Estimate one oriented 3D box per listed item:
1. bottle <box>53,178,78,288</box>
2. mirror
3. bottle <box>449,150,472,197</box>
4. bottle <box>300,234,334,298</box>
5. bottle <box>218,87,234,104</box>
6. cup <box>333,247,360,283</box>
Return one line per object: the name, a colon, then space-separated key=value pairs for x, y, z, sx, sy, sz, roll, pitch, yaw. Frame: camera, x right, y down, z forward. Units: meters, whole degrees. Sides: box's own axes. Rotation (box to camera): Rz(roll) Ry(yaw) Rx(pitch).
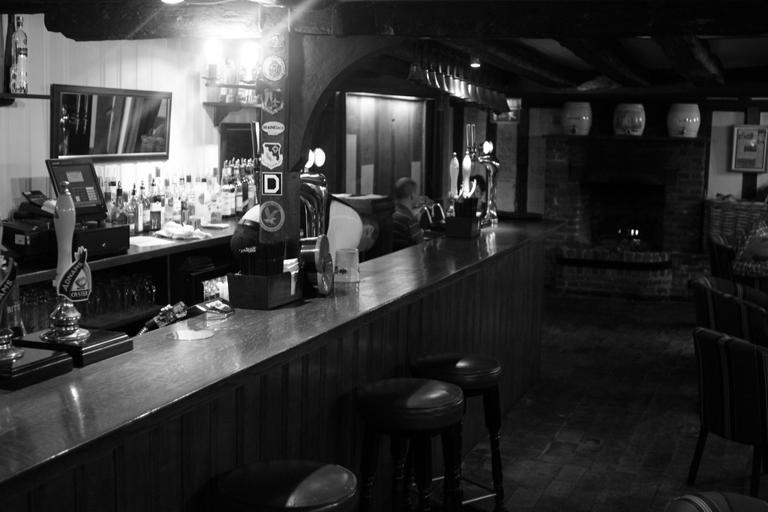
bottle: x=-1.260 y=-0.089 z=2.398 sx=0.083 sy=0.405 sz=0.304 roll=-5 pitch=12 yaw=-28
mirror: x=-2.475 y=-1.199 z=5.623 sx=0.031 sy=0.642 sz=1.338 roll=15 pitch=15 yaw=19
bottle: x=0.693 y=-0.722 z=5.478 sx=0.185 sy=0.386 sz=0.479 roll=2 pitch=10 yaw=7
bottle: x=-0.371 y=0.066 z=3.313 sx=0.158 sy=0.300 sz=0.309 roll=-2 pitch=8 yaw=6
bottle: x=-1.698 y=-1.727 z=6.577 sx=0.135 sy=0.159 sz=0.090 roll=-2 pitch=11 yaw=-15
cup: x=-0.210 y=0.060 z=3.424 sx=0.137 sy=0.188 sz=0.124 roll=0 pitch=10 yaw=-6
